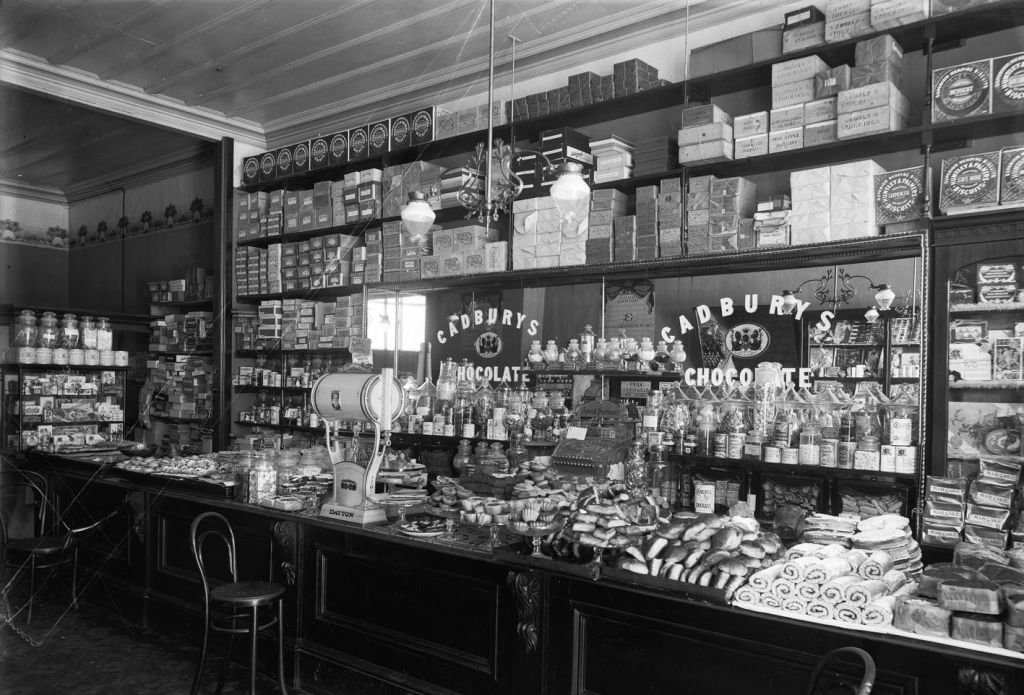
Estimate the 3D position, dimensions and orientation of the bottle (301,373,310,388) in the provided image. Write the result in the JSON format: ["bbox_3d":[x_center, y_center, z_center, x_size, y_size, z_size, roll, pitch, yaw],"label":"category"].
[{"bbox_3d":[-1.963,0.323,9.110,0.095,0.124,0.096,1,4,0],"label":"bottle"}]
